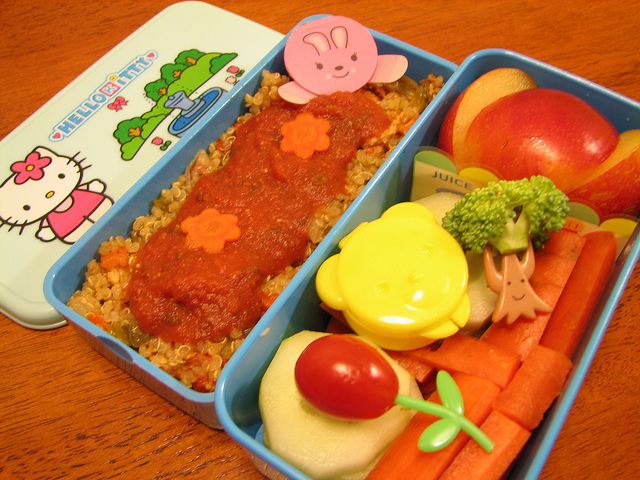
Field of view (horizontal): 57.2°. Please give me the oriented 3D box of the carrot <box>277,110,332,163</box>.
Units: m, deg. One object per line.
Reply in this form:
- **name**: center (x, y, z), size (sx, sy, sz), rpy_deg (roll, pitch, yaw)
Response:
- **carrot**: center (-0.044, -0.311, 1.793), size (0.181, 0.022, 0.181), rpy_deg (35, 67, 23)

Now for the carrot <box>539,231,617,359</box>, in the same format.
- **carrot**: center (0.671, 0.138, 1.515), size (0.111, 0.093, 0.354), rpy_deg (31, 81, 7)

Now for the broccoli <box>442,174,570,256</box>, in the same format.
- **broccoli**: center (0.495, -0.031, 1.537), size (0.242, 0.198, 0.150), rpy_deg (-22, 96, -27)

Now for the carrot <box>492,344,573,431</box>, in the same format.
- **carrot**: center (0.495, 0.351, 1.380), size (0.124, 0.080, 0.209), rpy_deg (-19, 31, 13)
